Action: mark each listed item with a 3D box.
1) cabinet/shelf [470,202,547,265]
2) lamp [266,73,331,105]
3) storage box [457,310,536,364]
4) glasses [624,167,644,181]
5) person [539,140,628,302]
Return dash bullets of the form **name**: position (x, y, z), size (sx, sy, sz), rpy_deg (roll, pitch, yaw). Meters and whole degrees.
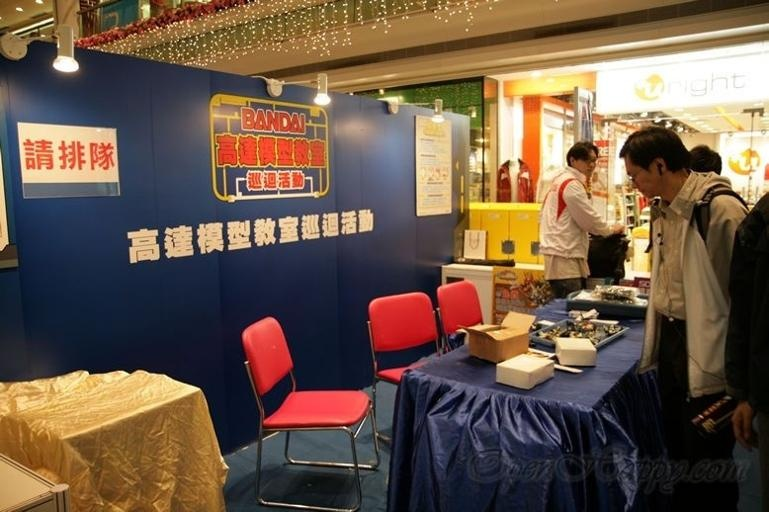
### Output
- **cabinet/shelf**: position (1.386, -0.259, 5.909), size (0.965, 0.715, 0.551), rpy_deg (3, 5, 33)
- **lamp**: position (-0.663, -1.291, 4.194), size (0.466, 0.297, 0.578), rpy_deg (-4, 9, -1)
- **storage box**: position (0.728, 0.475, 3.191), size (0.297, 0.146, 0.282), rpy_deg (-5, 3, -43)
- **glasses**: position (1.337, -0.441, 2.885), size (0.036, 0.085, 0.066), rpy_deg (5, -16, 47)
- **person**: position (1.663, -0.297, 4.642), size (0.599, 1.312, 0.445), rpy_deg (-2, 9, 11)
